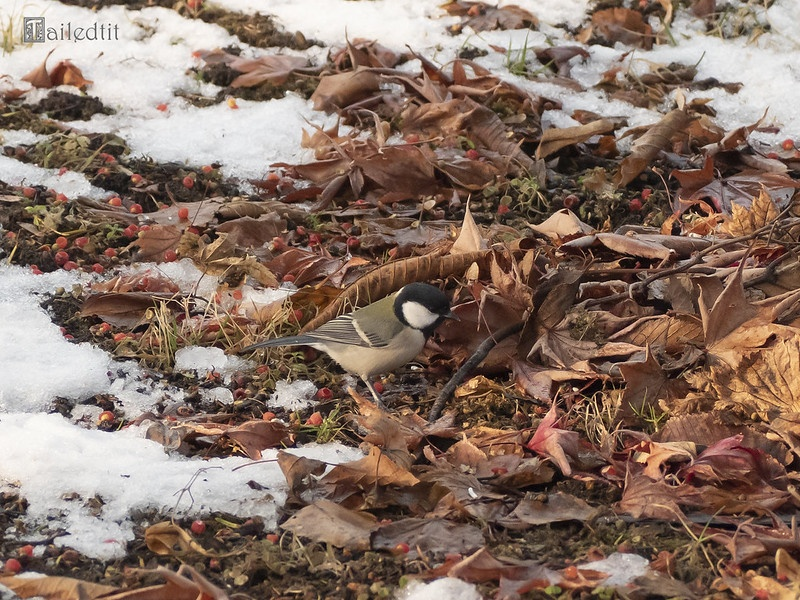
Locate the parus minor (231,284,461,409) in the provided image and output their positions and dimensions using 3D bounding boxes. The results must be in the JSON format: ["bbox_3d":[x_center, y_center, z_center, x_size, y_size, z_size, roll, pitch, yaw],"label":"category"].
[{"bbox_3d":[-0.223,0.239,5.766,1.373,0.646,0.388,2,13,28],"label":"parus minor"}]
